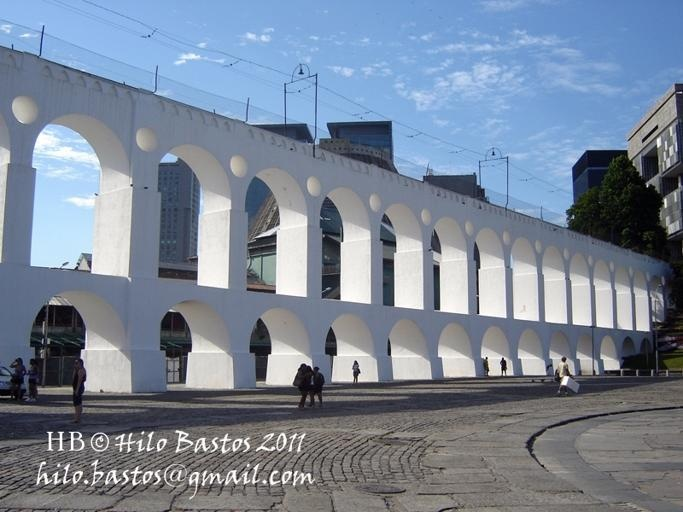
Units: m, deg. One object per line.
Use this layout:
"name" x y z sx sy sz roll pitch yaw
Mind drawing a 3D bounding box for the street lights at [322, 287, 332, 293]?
"street lights" -0.877 2.193 44.694 0.596 0.418 0.533 -1 -10 -7

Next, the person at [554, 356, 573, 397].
"person" 7.244 3.956 22.533 0.520 1.319 0.392 -11 -35 34

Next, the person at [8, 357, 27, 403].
"person" -8.943 3.405 19.197 0.364 1.167 0.873 3 -11 -25

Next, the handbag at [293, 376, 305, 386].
"handbag" -1.075 3.197 17.697 0.242 0.291 0.483 -1 -10 -3

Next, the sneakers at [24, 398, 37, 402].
"sneakers" -8.400 3.925 18.786 0.286 0.128 0.104 -1 -19 18

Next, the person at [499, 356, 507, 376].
"person" 8.792 5.981 37.431 0.363 1.023 1.296 -4 -10 12
